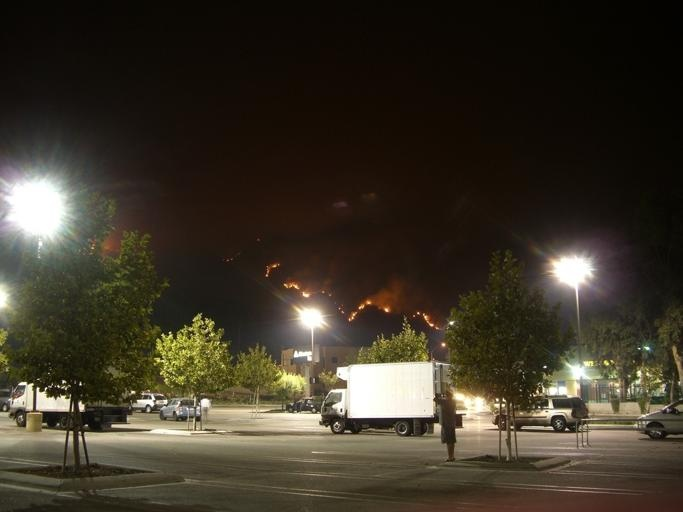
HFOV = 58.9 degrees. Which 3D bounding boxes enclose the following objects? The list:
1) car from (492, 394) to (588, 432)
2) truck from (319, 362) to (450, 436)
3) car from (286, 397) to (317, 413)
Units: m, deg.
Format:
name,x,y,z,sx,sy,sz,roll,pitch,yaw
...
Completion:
name,x,y,z,sx,sy,sz,roll,pitch,yaw
car,12.872,9.642,37.106,3.873,2.207,2.347,-6,-16,21
truck,2.549,8.757,36.805,7.434,4.281,3.801,-6,-10,26
car,-4.300,17.328,69.728,3.243,1.371,1.679,-1,-9,32
